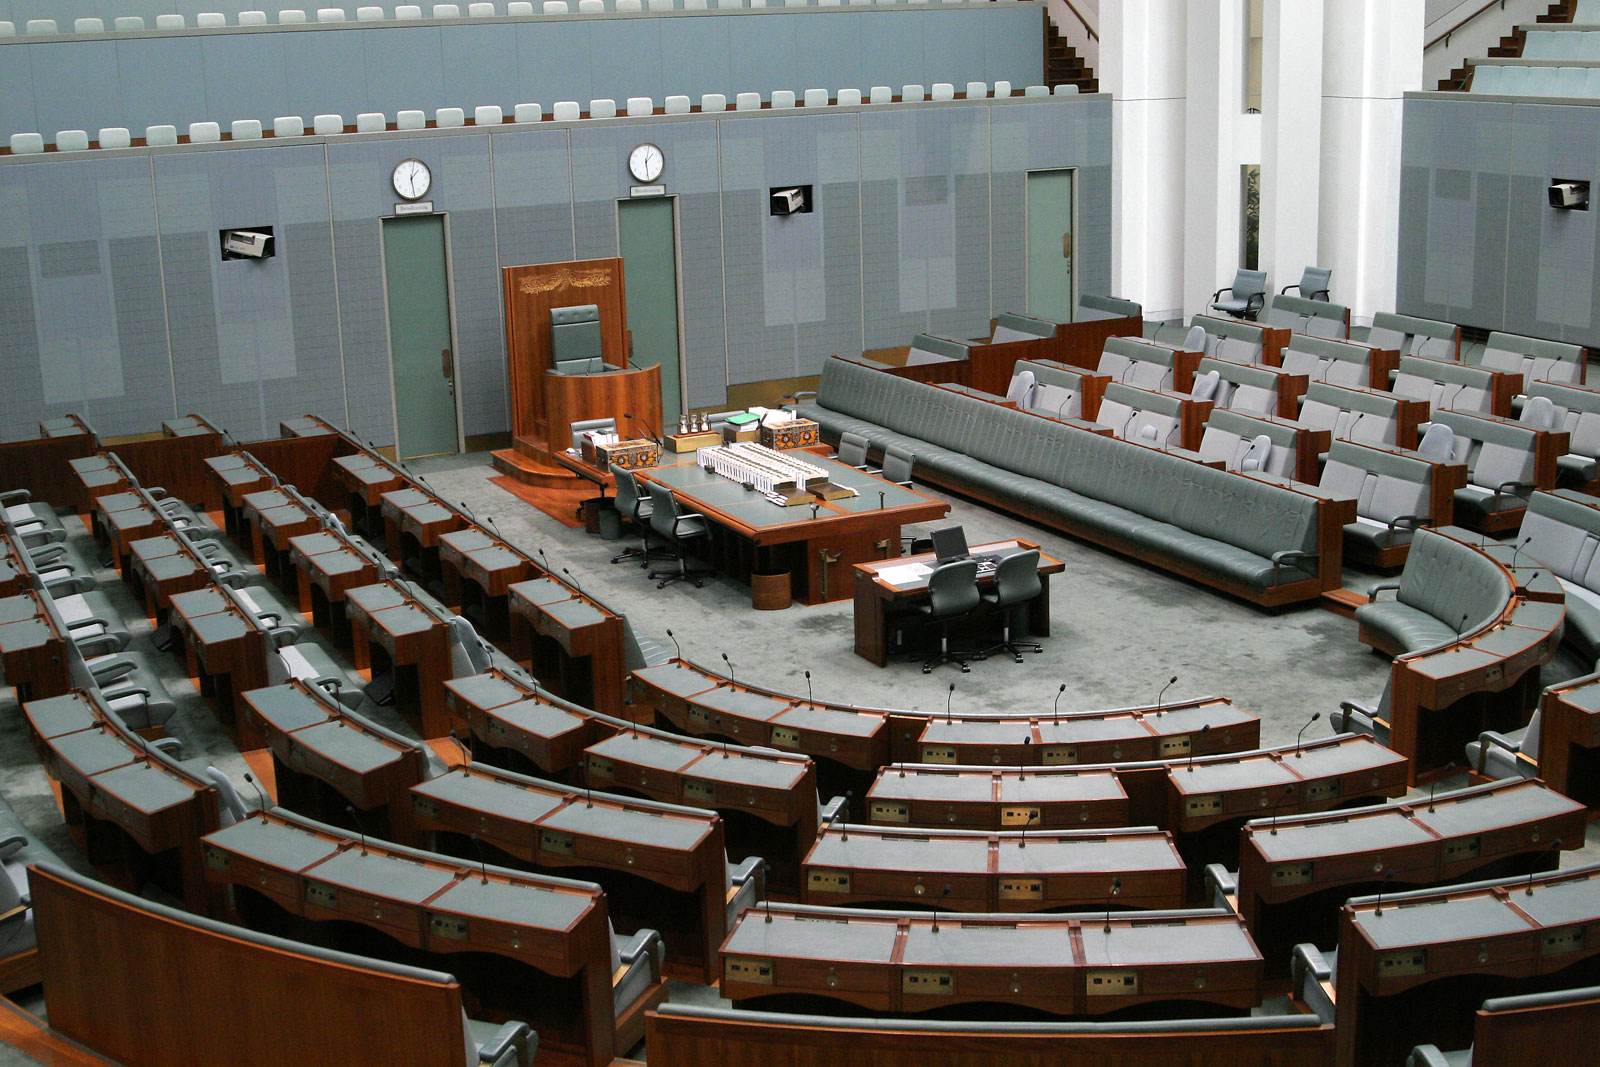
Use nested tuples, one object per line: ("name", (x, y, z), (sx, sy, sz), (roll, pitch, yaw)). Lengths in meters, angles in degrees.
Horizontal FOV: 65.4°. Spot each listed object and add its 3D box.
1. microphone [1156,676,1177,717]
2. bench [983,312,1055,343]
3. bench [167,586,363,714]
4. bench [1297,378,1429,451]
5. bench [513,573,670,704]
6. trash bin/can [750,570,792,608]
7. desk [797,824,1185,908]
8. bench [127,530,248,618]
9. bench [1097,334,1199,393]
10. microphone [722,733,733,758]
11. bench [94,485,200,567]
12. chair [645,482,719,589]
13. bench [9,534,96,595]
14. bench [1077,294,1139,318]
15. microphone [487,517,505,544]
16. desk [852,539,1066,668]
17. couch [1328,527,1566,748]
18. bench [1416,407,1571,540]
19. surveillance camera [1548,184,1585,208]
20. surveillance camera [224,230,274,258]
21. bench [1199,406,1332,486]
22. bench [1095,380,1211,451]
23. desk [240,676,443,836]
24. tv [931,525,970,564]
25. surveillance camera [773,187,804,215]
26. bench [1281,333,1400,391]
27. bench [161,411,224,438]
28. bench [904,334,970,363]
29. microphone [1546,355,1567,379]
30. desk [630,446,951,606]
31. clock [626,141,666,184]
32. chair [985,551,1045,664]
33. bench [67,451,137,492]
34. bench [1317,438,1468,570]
("microphone", (3.064, 1.369, 10.415), (0.231, 0.487, 0.115), (-2, 33, 14))
("bench", (3.602, -3.414, 20.768), (0.338, 0.416, 0.822), (-8, 16, -30))
("bench", (-4.867, 1.065, 11.315), (1.231, 0.835, 1.627), (-4, 13, -30))
("bench", (6.984, -1.445, 15.443), (0.469, 0.775, 1.133), (7, 4, -26))
("bench", (-1.921, 0.979, 11.230), (0.327, 0.623, 1.039), (-17, 29, -30))
("trash bin/can", (-0.307, 0.604, 13.325), (0.422, 0.278, 0.392), (-1, 3, -2))
("desk", (1.089, 1.910, 7.282), (1.545, 0.360, 0.608), (1, 12, 6))
("bench", (-6.143, 0.391, 12.415), (0.786, 0.544, 1.065), (-3, 25, -43))
("bench", (5.099, -2.451, 18.187), (1.125, 0.819, 0.584), (20, 4, 40))
("microphone", (-0.508, 1.472, 8.666), (0.119, 0.130, 0.114), (3, 10, 9))
("bench", (-7.160, -0.056, 13.531), (0.586, 0.498, 0.838), (-12, 24, -28))
("chair", (-1.344, -0.003, 14.140), (0.814, 0.986, 0.766), (1, 7, -21))
("bench", (-7.565, 0.325, 12.541), (0.409, 0.462, 0.408), (-6, 41, -19))
("bench", (5.239, -3.836, 21.162), (0.652, 0.345, 1.137), (-7, 16, -14))
("microphone", (-3.485, -0.030, 14.218), (0.105, 0.187, 0.465), (-13, 28, -19))
("desk", (1.621, 0.704, 12.137), (1.828, 0.862, 0.845), (-9, 12, -20))
("couch", (5.777, 0.866, 11.039), (1.716, 1.006, 3.749), (-2, 14, 21))
("bench", (7.764, -0.799, 14.687), (1.201, 0.961, 1.734), (-15, 22, -13))
("surveillance camera", (12.170, -5.352, 19.737), (0.218, 0.324, 0.402), (-9, 19, -21))
("surveillance camera", (-7.735, -4.052, 17.564), (0.566, 0.379, 0.254), (4, -5, 0))
("bench", (5.459, -0.972, 15.024), (0.681, 0.839, 1.216), (-15, 25, -28))
("bench", (4.544, -1.452, 16.424), (0.605, 0.840, 1.181), (-26, 34, -34))
("desk", (-3.367, 1.693, 8.910), (1.651, 0.870, 0.511), (18, 26, 38))
("tv", (1.398, 0.091, 11.831), (0.422, 0.346, 0.323), (-5, 7, -10))
("surveillance camera", (-0.143, -5.410, 20.217), (0.362, 0.423, 0.493), (22, 39, 31))
("bench", (7.645, -2.407, 17.669), (0.398, 0.458, 1.188), (-9, 16, -36))
("bench", (-8.066, -1.418, 16.441), (0.549, 0.213, 1.118), (-14, 19, -33))
("bench", (2.124, -2.921, 19.742), (0.366, 0.573, 0.680), (-19, 28, -39))
("microphone", (10.183, -2.233, 16.767), (0.179, 0.273, 0.308), (-4, 12, -16))
("desk", (-0.201, -0.022, 14.721), (2.385, 1.091, 3.511), (-10, 11, -27))
("clock", (-2.369, -5.694, 19.240), (0.609, 0.607, 0.100), (-13, 19, -27))
("chair", (2.123, 0.620, 12.145), (0.472, 1.067, 0.719), (-1, 17, 10))
("bench", (-8.314, -0.713, 14.837), (0.554, 0.230, 1.022), (-12, 28, -31))
("bench", (6.309, -0.270, 13.304), (0.838, 0.858, 1.346), (-7, 17, -23))
